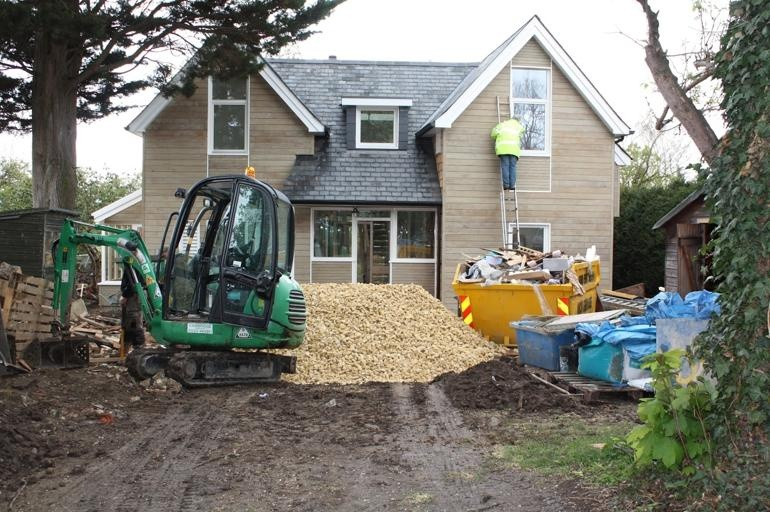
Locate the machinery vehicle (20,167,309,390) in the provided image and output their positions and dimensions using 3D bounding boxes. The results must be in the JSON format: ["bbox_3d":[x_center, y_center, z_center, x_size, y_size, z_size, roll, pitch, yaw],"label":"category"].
[{"bbox_3d":[-3.377,0.455,12.199,3.837,3.660,1.753,-1,13,-7],"label":"machinery vehicle"}]

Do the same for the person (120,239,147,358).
[{"bbox_3d":[-4.661,0.808,12.696,0.651,2.077,0.633,3,-7,-20],"label":"person"}]
